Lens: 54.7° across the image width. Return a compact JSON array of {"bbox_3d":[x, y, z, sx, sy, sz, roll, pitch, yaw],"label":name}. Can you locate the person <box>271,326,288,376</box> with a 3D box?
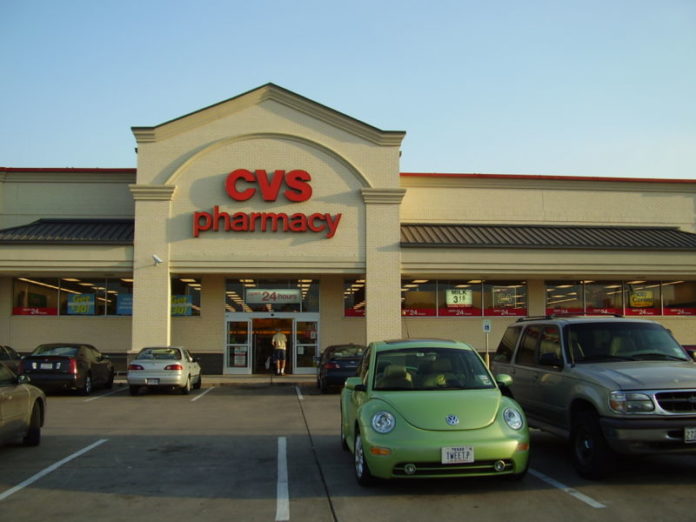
[{"bbox_3d":[-2.927,3.946,29.264,0.635,2.012,1.483,-1,-10,-6],"label":"person"}]

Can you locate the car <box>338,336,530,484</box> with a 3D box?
[{"bbox_3d":[1.380,2.439,12.084,2.869,1.985,4.830,-2,-3,-5],"label":"car"}]

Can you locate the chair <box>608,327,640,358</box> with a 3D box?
[{"bbox_3d":[4.857,1.433,11.871,0.411,0.534,0.476,1,-24,14],"label":"chair"}]

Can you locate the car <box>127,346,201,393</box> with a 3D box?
[{"bbox_3d":[-6.038,3.642,22.362,1.706,1.569,2.198,-2,-9,4],"label":"car"}]

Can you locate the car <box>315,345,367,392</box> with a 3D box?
[{"bbox_3d":[-0.329,3.604,23.131,1.350,1.083,2.990,0,-3,-5],"label":"car"}]

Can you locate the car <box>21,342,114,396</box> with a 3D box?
[{"bbox_3d":[-9.127,3.399,22.865,2.230,1.458,4.681,0,-2,0],"label":"car"}]

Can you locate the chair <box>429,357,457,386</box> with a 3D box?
[{"bbox_3d":[1.584,1.855,11.102,0.340,0.366,0.391,0,-15,5],"label":"chair"}]
